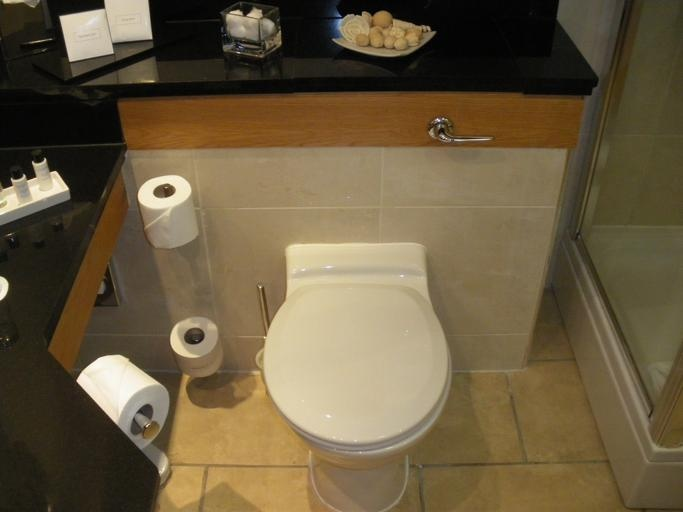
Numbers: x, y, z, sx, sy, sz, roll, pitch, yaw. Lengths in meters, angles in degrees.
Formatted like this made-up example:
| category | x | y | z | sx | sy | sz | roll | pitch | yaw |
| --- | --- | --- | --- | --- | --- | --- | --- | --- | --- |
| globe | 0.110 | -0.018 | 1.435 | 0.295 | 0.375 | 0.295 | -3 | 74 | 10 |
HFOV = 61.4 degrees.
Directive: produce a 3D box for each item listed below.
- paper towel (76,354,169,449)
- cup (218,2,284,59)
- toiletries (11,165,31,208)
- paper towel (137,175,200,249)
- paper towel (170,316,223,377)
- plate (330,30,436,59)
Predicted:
| category | x | y | z | sx | sy | sz | roll | pitch | yaw |
| --- | --- | --- | --- | --- | --- | --- | --- | --- | --- |
| paper towel | -0.471 | 0.320 | 1.239 | 0.178 | 0.165 | 0.150 | 23 | 42 | 19 |
| cup | -0.253 | -0.608 | 1.581 | 0.147 | 0.156 | 0.155 | 1 | 25 | -1 |
| toiletries | -0.744 | -0.169 | 1.324 | 0.034 | 0.084 | 0.059 | -21 | 45 | -22 |
| paper towel | -0.448 | -0.115 | 1.614 | 0.168 | 0.190 | 0.190 | -5 | 53 | -5 |
| paper towel | -0.482 | 0.299 | 1.929 | 0.150 | 0.185 | 0.159 | -7 | 42 | -7 |
| plate | 0.123 | -0.569 | 1.552 | 0.278 | 0.047 | 0.154 | -2 | 42 | -2 |
